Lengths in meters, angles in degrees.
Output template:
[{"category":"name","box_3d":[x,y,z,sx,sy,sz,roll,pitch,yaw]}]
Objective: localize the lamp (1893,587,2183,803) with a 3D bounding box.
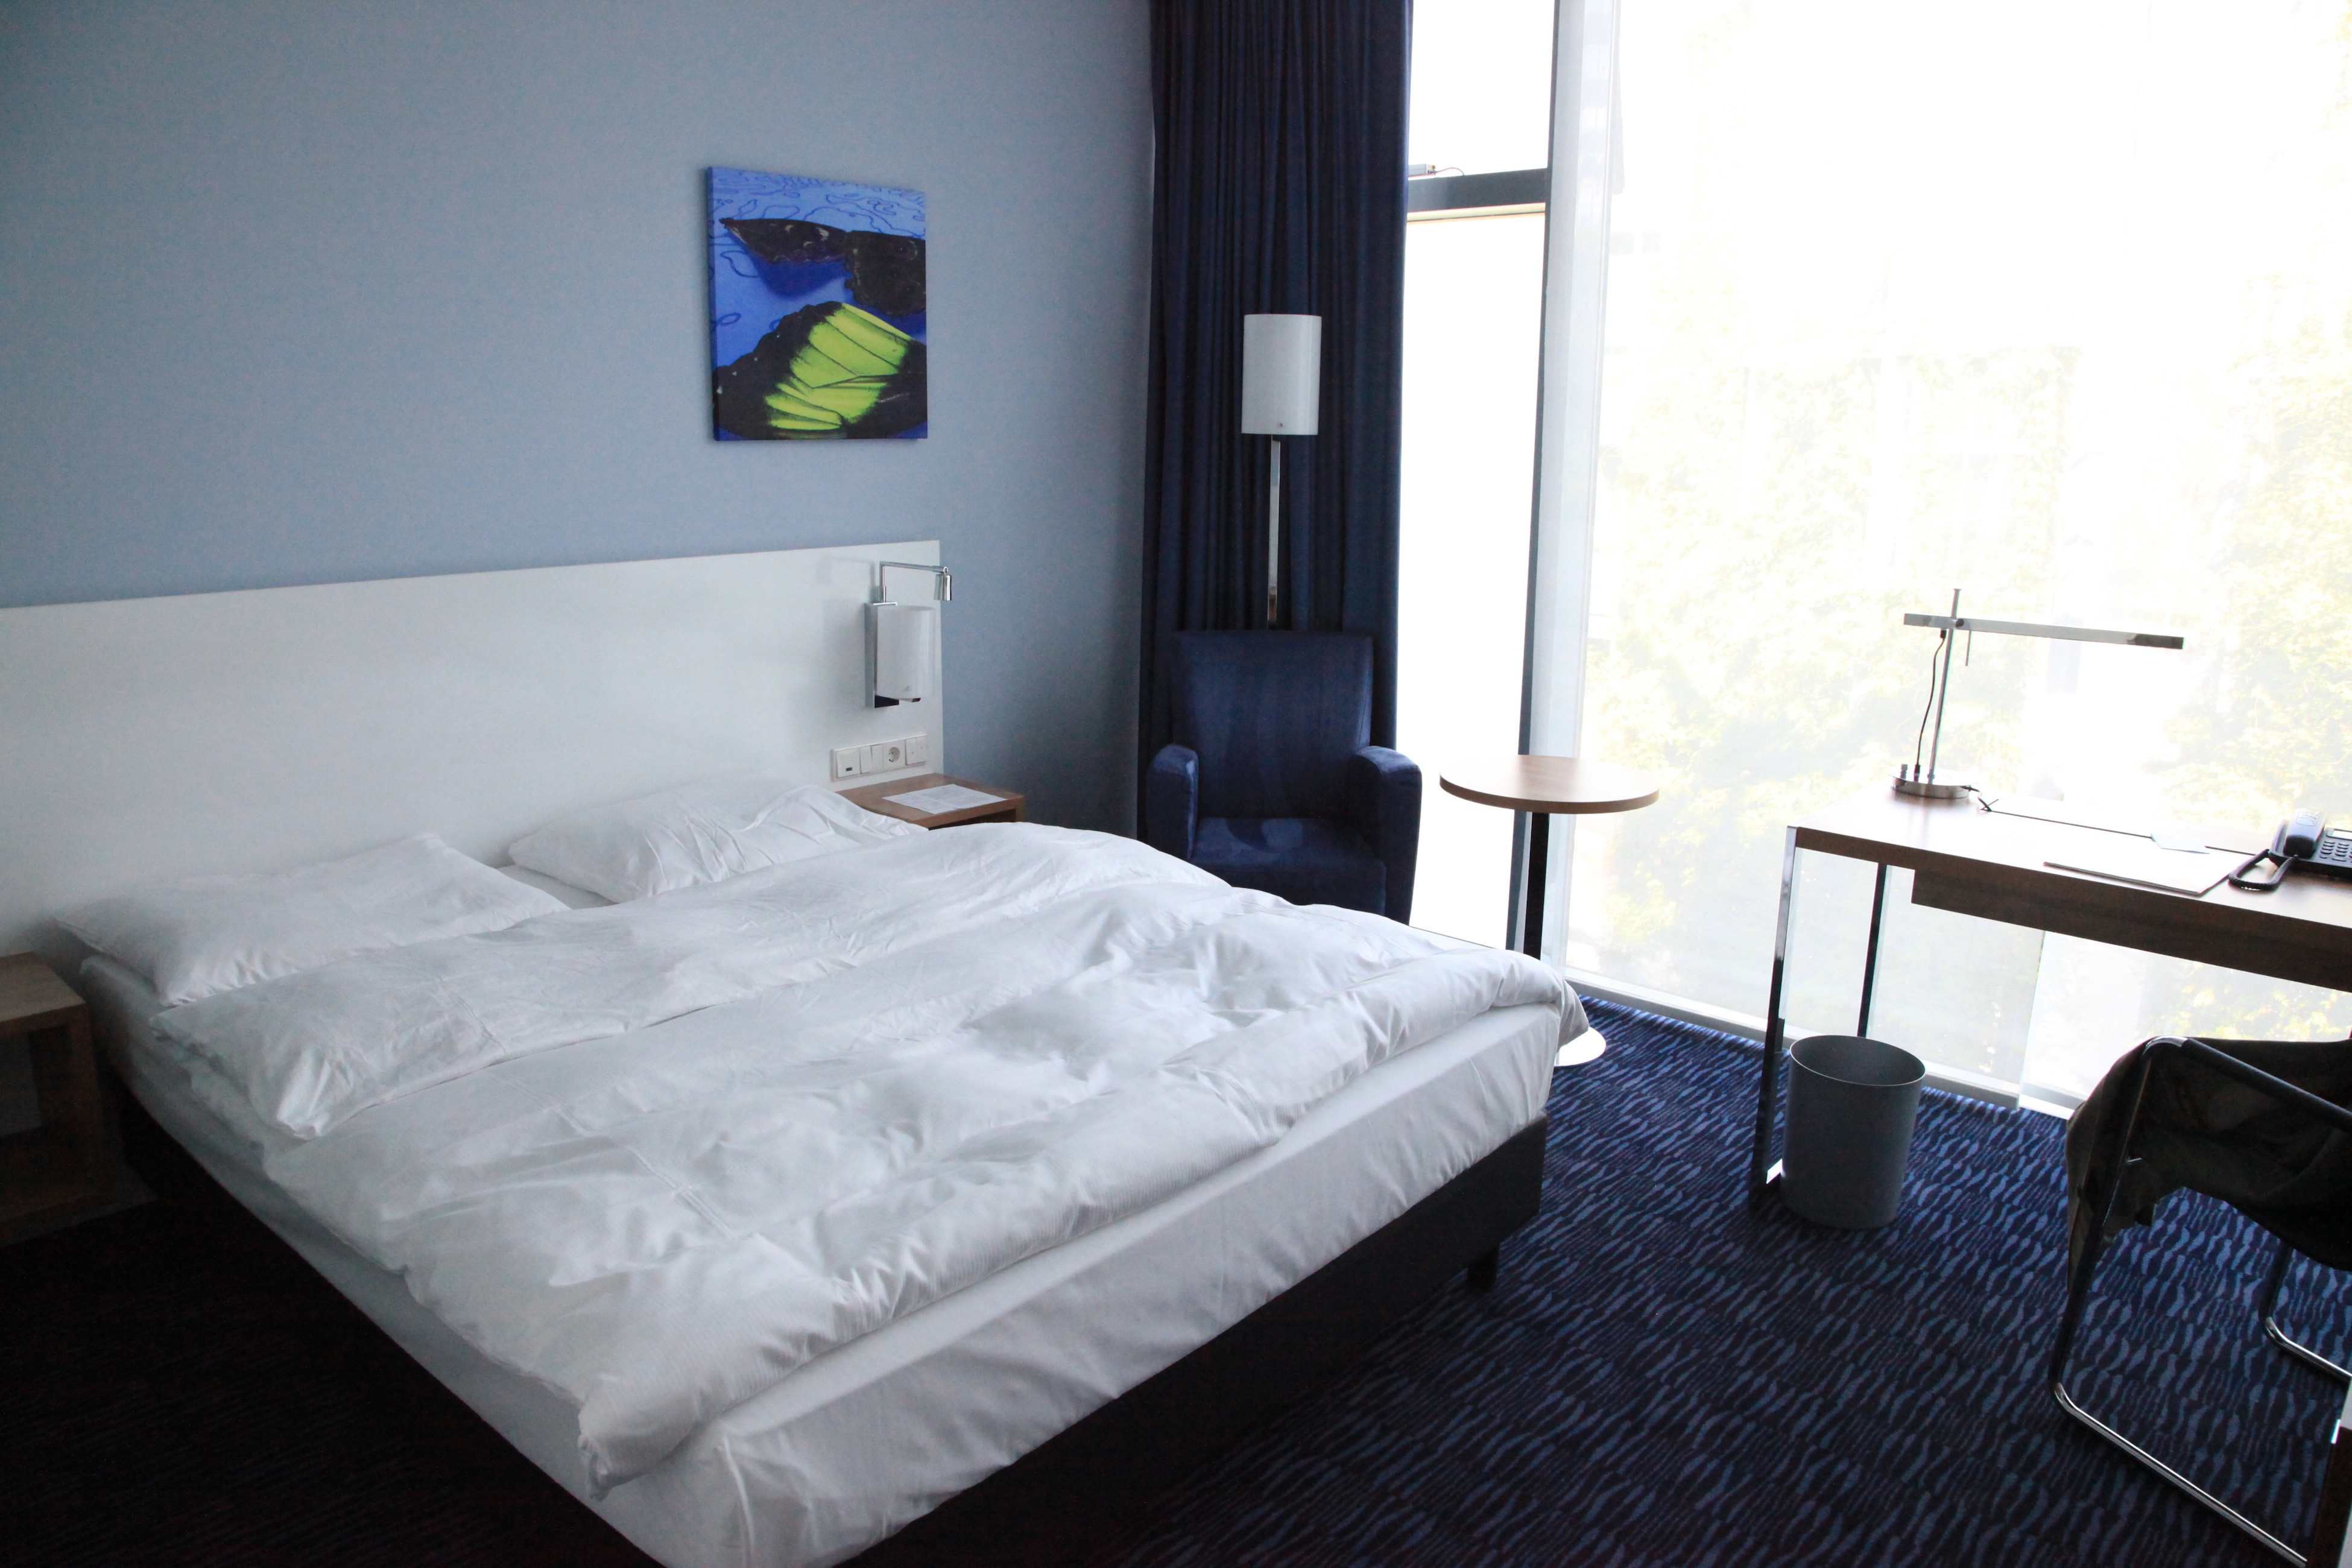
[{"category":"lamp","box_3d":[2.682,-0.268,4.736,0.641,0.519,0.167,7,22,30]}]

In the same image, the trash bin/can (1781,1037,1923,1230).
[{"category":"trash bin/can","box_3d":[1.869,0.982,4.287,0.398,0.426,0.367,-15,22,-40]}]

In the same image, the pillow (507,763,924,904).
[{"category":"pillow","box_3d":[-1.410,0.150,4.653,0.661,0.160,0.563,-8,21,-44]}]

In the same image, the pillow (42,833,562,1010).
[{"category":"pillow","box_3d":[-2.255,0.345,4.031,0.672,0.099,0.585,-12,25,-40]}]

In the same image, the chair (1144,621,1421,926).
[{"category":"chair","box_3d":[0.384,-0.049,5.733,0.948,1.273,1.047,2,1,1]}]
